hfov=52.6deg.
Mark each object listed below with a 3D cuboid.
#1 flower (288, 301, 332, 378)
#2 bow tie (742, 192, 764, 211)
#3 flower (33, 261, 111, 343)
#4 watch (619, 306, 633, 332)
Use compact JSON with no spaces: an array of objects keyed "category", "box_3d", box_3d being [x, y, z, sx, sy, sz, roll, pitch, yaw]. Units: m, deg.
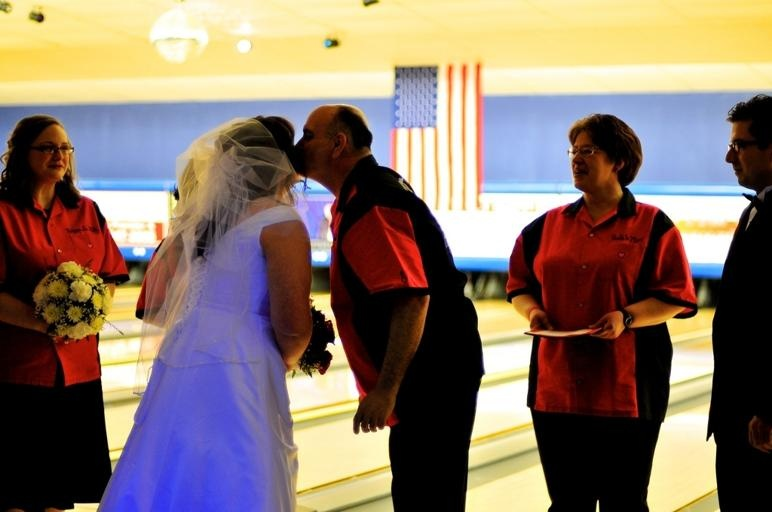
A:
[{"category":"flower","box_3d":[-0.345,0.416,4.076,0.193,0.322,0.318,0,41,5]},{"category":"bow tie","box_3d":[1.890,-0.278,4.006,0.097,0.037,0.072,25,-2,29]},{"category":"flower","box_3d":[-1.725,0.214,4.484,0.441,0.427,0.427,9,34,-8]},{"category":"watch","box_3d":[1.242,0.324,4.070,0.067,0.101,0.093,4,-9,-29]}]
